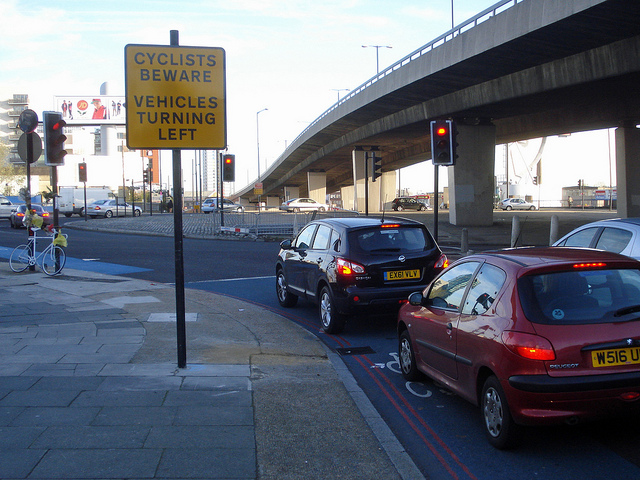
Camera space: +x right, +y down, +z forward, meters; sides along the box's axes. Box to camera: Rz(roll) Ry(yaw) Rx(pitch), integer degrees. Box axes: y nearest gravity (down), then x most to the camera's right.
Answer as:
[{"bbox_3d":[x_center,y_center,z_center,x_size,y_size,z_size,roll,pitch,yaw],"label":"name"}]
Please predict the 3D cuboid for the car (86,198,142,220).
[{"bbox_3d":[-17.889,-2.624,49.920,4.104,1.528,1.677,-1,5,-41],"label":"car"}]

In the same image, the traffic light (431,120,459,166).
[{"bbox_3d":[3.263,-2.551,15.301,0.681,1.213,0.677,2,3,3],"label":"traffic light"}]

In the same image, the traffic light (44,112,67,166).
[{"bbox_3d":[-6.823,-2.608,15.012,0.496,1.373,0.750,0,4,-27],"label":"traffic light"}]

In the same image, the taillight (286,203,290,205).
[{"bbox_3d":[-3.630,-4.006,65.519,0.274,0.237,0.296,1,2,-7],"label":"taillight"}]

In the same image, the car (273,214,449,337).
[{"bbox_3d":[0.406,0.394,10.358,1.501,1.364,2.930,-3,8,-23],"label":"car"}]

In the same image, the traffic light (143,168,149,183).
[{"bbox_3d":[-14.610,-5.404,48.989,0.242,1.141,1.040,2,4,-11],"label":"traffic light"}]

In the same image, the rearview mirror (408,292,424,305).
[{"bbox_3d":[1.124,0.692,6.797,0.165,0.167,0.204,3,4,9],"label":"rearview mirror"}]

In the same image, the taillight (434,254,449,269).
[{"bbox_3d":[1.999,0.356,9.521,0.171,0.220,0.428,4,4,27],"label":"taillight"}]

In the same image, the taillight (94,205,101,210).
[{"bbox_3d":[-18.549,-2.643,48.701,0.448,0.269,0.155,1,4,-18],"label":"taillight"}]

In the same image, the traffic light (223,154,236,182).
[{"bbox_3d":[-4.773,-3.777,30.638,0.547,1.353,0.924,1,4,-13],"label":"traffic light"}]

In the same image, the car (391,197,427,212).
[{"bbox_3d":[9.979,-3.931,65.578,2.364,1.453,5.360,5,5,32],"label":"car"}]

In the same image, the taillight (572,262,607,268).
[{"bbox_3d":[2.482,0.236,5.377,0.314,0.055,0.048,2,4,-12],"label":"taillight"}]

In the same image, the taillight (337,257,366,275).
[{"bbox_3d":[0.473,0.432,9.133,0.309,0.148,0.248,20,2,-1],"label":"taillight"}]

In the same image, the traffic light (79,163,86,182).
[{"bbox_3d":[-15.591,-4.447,38.301,0.393,1.064,0.627,1,4,-24],"label":"traffic light"}]
